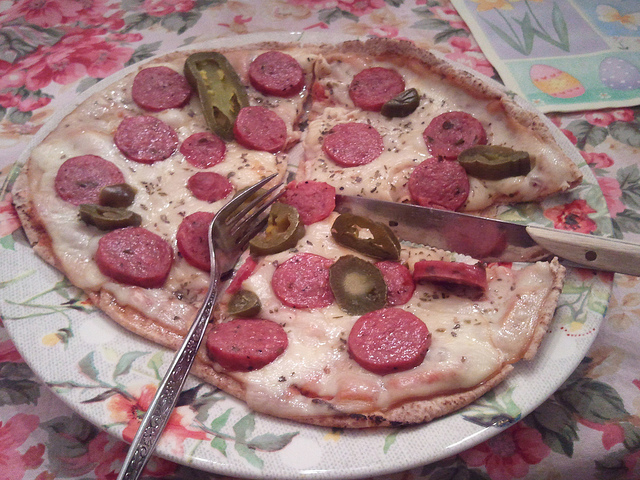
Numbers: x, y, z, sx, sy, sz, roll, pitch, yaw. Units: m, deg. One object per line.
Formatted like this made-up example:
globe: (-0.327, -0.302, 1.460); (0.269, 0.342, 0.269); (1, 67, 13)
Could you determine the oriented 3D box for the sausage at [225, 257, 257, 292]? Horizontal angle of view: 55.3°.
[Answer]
sausage: (-0.475, 0.222, 4.007); (0.101, 0.069, 0.340); (28, 49, 27)
